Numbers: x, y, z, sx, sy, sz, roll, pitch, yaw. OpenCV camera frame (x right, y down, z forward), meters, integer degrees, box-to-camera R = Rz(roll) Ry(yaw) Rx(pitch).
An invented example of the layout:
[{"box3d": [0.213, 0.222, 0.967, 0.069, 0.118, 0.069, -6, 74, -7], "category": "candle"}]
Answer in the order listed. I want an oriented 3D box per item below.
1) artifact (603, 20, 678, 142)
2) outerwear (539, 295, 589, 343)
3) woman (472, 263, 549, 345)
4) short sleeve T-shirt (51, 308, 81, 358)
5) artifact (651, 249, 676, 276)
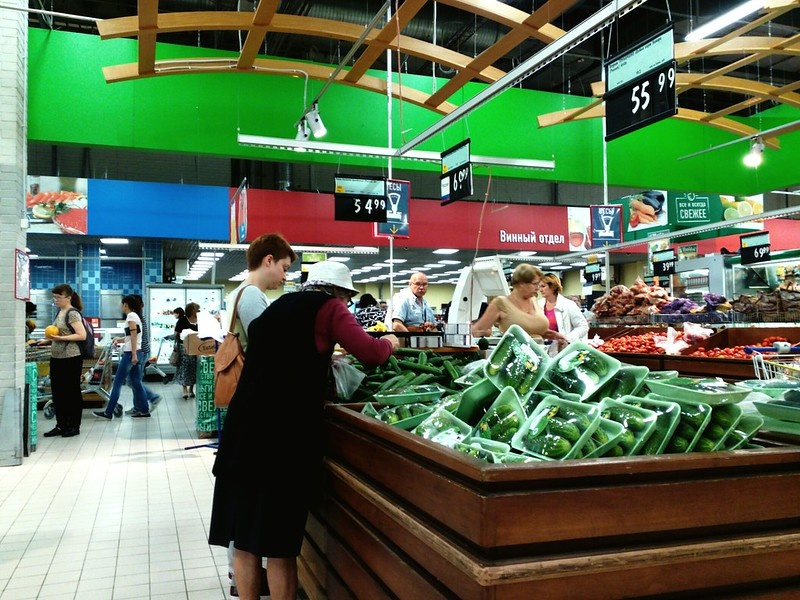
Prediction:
[{"box3d": [1.866, -1.674, 4.671, 0.271, 0.733, 0.840, -2, 4, -13], "category": "artifact"}, {"box3d": [1.629, 0.205, 5.979, 0.462, 0.380, 0.266, -22, -5, 31], "category": "outerwear"}, {"box3d": [0.952, 0.028, 5.218, 0.960, 0.725, 0.304, 2, 1, -32], "category": "woman"}, {"box3d": [-3.837, 0.399, 6.812, 0.349, 0.535, 0.621, 0, -3, -31], "category": "short sleeve T-shirt"}, {"box3d": [4.706, -0.643, 10.638, 0.375, 0.447, 0.512, 7, -8, -13], "category": "artifact"}]
